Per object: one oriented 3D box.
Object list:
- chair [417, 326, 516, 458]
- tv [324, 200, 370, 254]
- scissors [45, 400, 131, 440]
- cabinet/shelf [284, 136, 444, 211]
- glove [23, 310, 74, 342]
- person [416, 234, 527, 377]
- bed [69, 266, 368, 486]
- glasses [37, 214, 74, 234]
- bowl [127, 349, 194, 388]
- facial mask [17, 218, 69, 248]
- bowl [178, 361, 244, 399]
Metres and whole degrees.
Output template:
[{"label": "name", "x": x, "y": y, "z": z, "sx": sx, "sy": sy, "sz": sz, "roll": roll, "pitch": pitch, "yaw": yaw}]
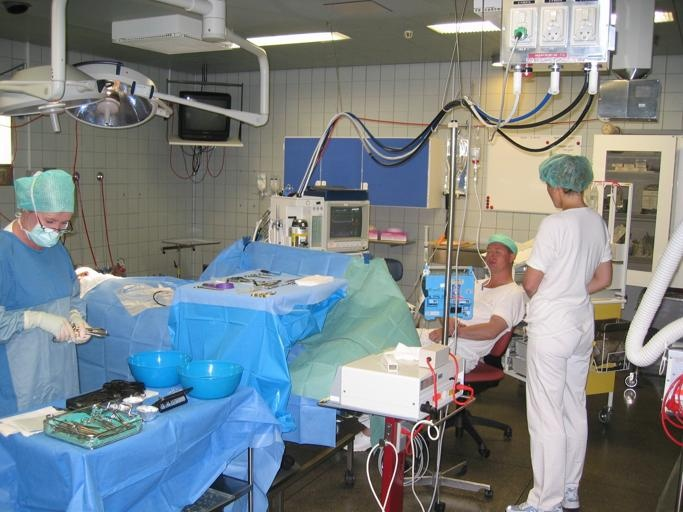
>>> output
[{"label": "chair", "x": 0.920, "y": 0.890, "z": 4.530, "sx": 0.769, "sy": 0.891, "sz": 0.773, "roll": 1, "pitch": 11, "yaw": 14}, {"label": "tv", "x": -0.027, "y": -0.245, "z": 5.428, "sx": 0.487, "sy": 0.433, "sz": 0.287, "roll": -2, "pitch": 1, "yaw": -29}, {"label": "scissors", "x": -1.026, "y": 0.691, "z": 2.546, "sx": 0.339, "sy": 0.082, "sz": 0.248, "roll": 4, "pitch": 7, "yaw": 26}, {"label": "cabinet/shelf", "x": 0.117, "y": -0.980, "z": 7.092, "sx": 1.785, "sy": 0.779, "sz": 0.381, "roll": 5, "pitch": 9, "yaw": 34}, {"label": "glove", "x": -1.482, "y": 0.355, "z": 3.134, "sx": 0.244, "sy": 0.156, "sz": 0.060, "roll": 0, "pitch": 7, "yaw": -4}, {"label": "person", "x": 0.882, "y": 0.423, "z": 4.513, "sx": 0.864, "sy": 1.066, "sz": 0.604, "roll": -3, "pitch": 9, "yaw": -11}, {"label": "bed", "x": -1.014, "y": 0.567, "z": 3.862, "sx": 1.819, "sy": 0.553, "sz": 1.081, "roll": 9, "pitch": 11, "yaw": 24}, {"label": "glasses", "x": -1.499, "y": -0.177, "z": 3.294, "sx": 0.139, "sy": 0.105, "sz": 0.221, "roll": 2, "pitch": 7, "yaw": 12}, {"label": "bowl", "x": -0.912, "y": 0.566, "z": 3.080, "sx": 0.349, "sy": 0.150, "sz": 0.350, "roll": 0, "pitch": -10, "yaw": 0}, {"label": "facial mask", "x": -1.582, "y": -0.103, "z": 3.261, "sx": 0.152, "sy": 0.070, "sz": 0.157, "roll": 26, "pitch": 17, "yaw": 30}, {"label": "bowl", "x": -0.636, "y": 0.584, "z": 2.985, "sx": 0.350, "sy": 0.136, "sz": 0.348, "roll": 6, "pitch": -6, "yaw": 1}]
